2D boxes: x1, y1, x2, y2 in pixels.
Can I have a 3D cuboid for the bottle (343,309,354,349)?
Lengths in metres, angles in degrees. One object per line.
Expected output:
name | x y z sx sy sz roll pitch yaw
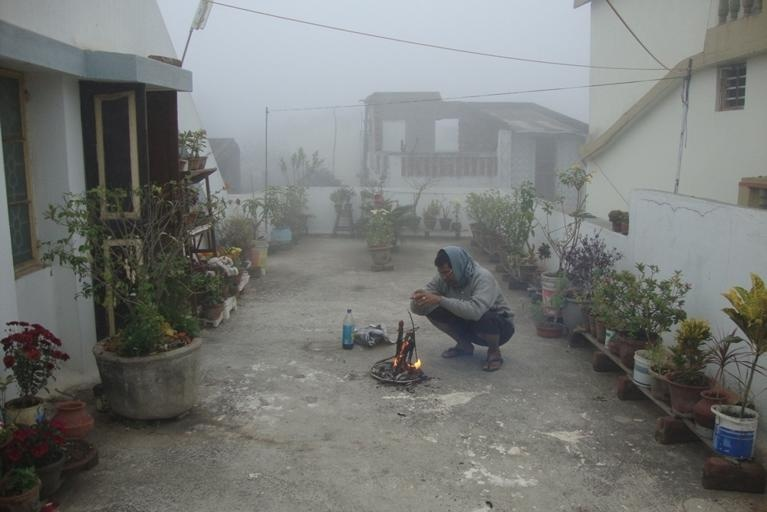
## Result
bottle | -0.562 1.139 8.155 0.174 0.579 0.168 0 11 0

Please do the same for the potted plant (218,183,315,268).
potted plant | -3.813 -1.232 17.679 2.841 2.152 2.810 2 9 18

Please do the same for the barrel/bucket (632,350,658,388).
barrel/bucket | 3.072 1.364 6.360 0.314 0.357 0.327 -2 7 0

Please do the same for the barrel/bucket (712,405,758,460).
barrel/bucket | 3.490 1.725 5.246 0.390 0.516 0.277 -1 11 -2

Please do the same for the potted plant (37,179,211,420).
potted plant | -3.293 0.425 6.894 1.572 2.645 2.628 -5 12 -24

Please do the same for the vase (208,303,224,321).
vase | -2.894 0.976 9.145 0.270 0.219 0.268 1 -1 -45

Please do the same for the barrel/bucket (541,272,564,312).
barrel/bucket | 2.881 0.654 9.008 0.468 0.576 0.518 -1 3 -4

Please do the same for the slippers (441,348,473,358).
slippers | 1.102 1.441 7.866 0.427 0.186 0.179 2 1 -4

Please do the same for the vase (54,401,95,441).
vase | -3.325 1.799 5.629 0.385 0.432 0.377 3 2 -30
